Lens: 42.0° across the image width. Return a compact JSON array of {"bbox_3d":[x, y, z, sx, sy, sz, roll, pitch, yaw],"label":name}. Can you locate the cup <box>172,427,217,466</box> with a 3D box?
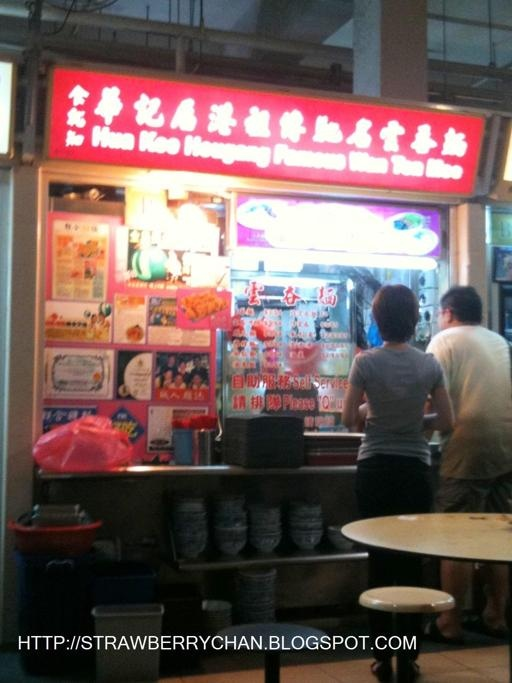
[{"bbox_3d":[-0.287,0.493,3.112,0.194,0.166,0.094,0,3,-4],"label":"cup"}]

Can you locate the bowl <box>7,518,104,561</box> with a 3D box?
[{"bbox_3d":[-0.792,0.784,2.643,0.340,0.140,0.120,-1,3,-16],"label":"bowl"}]

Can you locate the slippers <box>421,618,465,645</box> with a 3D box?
[{"bbox_3d":[0.852,1.337,3.054,0.077,0.076,0.212,1,2,-25],"label":"slippers"}]
